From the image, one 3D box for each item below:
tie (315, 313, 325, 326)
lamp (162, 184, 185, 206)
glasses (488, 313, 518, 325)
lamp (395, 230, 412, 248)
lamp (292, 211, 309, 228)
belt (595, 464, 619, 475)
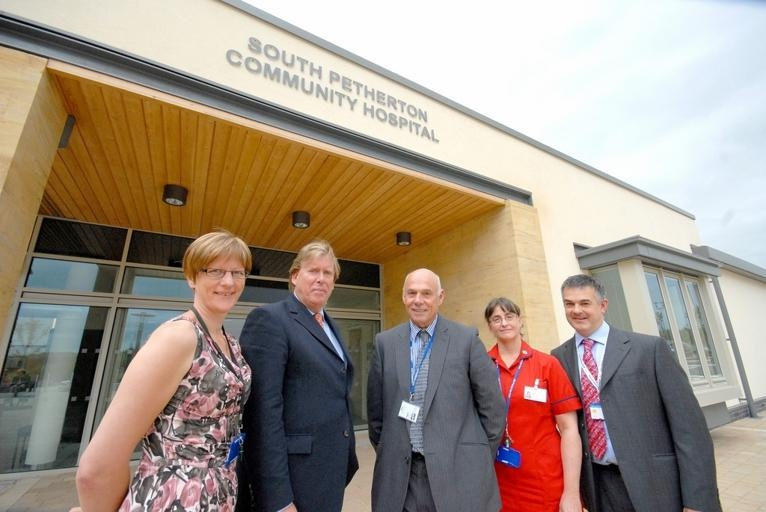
[{"bbox_3d":[-0.552,0.563,3.612,0.036,0.074,0.100,-13,-58,17],"label":"tie"},{"bbox_3d":[-2.943,-0.831,5.744,0.281,0.192,0.279,1,-18,-6],"label":"lamp"},{"bbox_3d":[1.212,0.644,4.115,0.152,0.045,0.156,-14,-29,22],"label":"glasses"},{"bbox_3d":[0.401,-0.287,7.294,0.249,0.178,0.246,6,-20,-22],"label":"lamp"},{"bbox_3d":[-1.294,-0.556,6.440,0.239,0.172,0.239,0,-14,-1],"label":"lamp"},{"bbox_3d":[2.053,1.932,3.711,0.131,0.046,0.097,0,-17,6],"label":"belt"}]
